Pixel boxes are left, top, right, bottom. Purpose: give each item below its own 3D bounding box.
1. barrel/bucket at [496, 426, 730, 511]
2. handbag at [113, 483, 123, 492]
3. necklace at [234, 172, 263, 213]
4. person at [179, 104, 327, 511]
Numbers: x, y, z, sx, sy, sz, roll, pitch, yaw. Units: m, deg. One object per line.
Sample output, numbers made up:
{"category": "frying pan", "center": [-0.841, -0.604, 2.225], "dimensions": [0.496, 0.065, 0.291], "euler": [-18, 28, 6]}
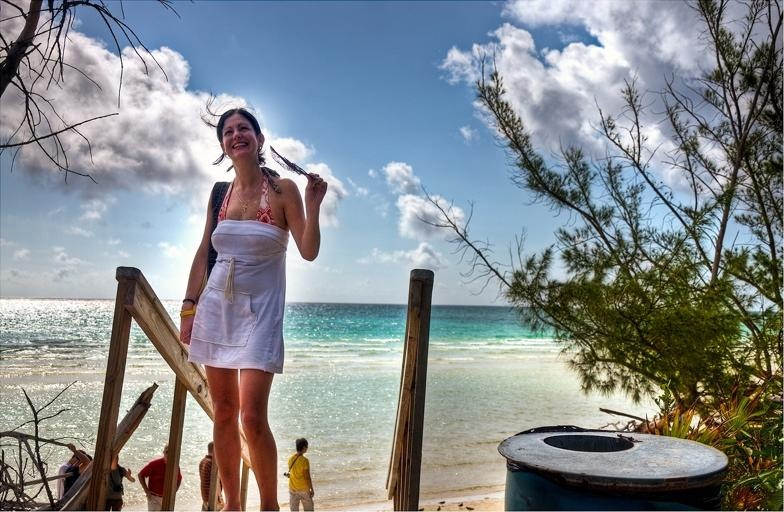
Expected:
{"category": "barrel/bucket", "center": [1.798, 1.844, 4.428], "dimensions": [1.756, 0.531, 0.865], "euler": [-1, -5, 11]}
{"category": "handbag", "center": [-3.746, 3.192, 7.209], "dimensions": [0.094, 0.096, 0.098], "euler": [-2, 1, -35]}
{"category": "necklace", "center": [-1.224, -0.541, 4.520], "dimensions": [0.259, 0.344, 0.231], "euler": [2, -40, 2]}
{"category": "person", "center": [-1.199, 0.345, 4.461], "dimensions": [1.281, 3.356, 0.534], "euler": [-3, -5, 25]}
